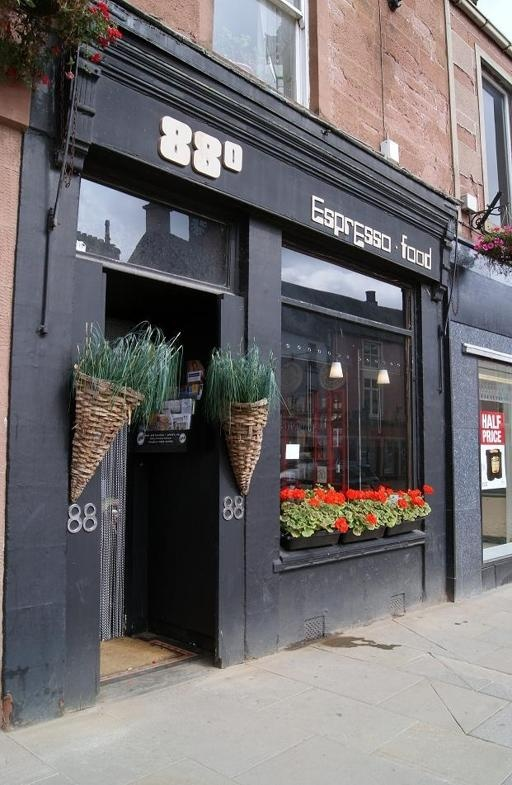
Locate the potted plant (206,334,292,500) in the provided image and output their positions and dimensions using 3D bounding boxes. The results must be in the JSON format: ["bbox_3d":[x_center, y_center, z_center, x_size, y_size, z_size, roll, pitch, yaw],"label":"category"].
[{"bbox_3d":[-0.122,0.205,4.520,0.456,1.017,0.366,3,-5,-10],"label":"potted plant"}]

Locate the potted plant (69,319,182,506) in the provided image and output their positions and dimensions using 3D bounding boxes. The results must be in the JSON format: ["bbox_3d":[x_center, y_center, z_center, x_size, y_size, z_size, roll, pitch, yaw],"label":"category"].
[{"bbox_3d":[-0.823,0.048,3.598,0.492,0.859,0.558,14,-8,34],"label":"potted plant"}]

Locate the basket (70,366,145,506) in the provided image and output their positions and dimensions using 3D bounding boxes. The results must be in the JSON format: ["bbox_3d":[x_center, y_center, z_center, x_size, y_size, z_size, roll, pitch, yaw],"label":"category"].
[{"bbox_3d":[-0.808,0.252,3.568,0.368,0.707,0.320,4,-5,-12],"label":"basket"}]
